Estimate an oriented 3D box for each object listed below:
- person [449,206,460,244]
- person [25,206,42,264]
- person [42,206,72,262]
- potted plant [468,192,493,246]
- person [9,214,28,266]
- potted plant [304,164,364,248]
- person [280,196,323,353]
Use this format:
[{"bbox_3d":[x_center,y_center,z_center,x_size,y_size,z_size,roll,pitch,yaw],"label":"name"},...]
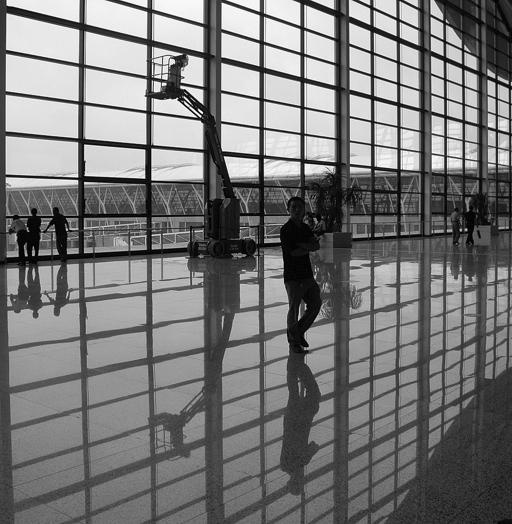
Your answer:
[{"bbox_3d":[9.225,-1.643,24.647,0.296,1.668,1.925,0,4,19],"label":"person"},{"bbox_3d":[-6.889,-0.807,16.405,0.380,1.692,2.084,-2,4,-23],"label":"person"},{"bbox_3d":[-6.284,-0.876,16.906,0.640,1.704,1.613,-2,4,-22],"label":"person"},{"bbox_3d":[13.099,-2.446,30.956,0.866,2.675,0.906,-4,7,-7],"label":"potted plant"},{"bbox_3d":[-7.139,-0.654,15.937,0.472,1.466,0.871,-2,3,-24],"label":"person"},{"bbox_3d":[3.737,-2.893,24.284,1.776,2.866,2.371,-11,19,-18],"label":"potted plant"},{"bbox_3d":[0.462,0.142,5.693,0.418,1.628,0.339,0,3,7],"label":"person"}]
